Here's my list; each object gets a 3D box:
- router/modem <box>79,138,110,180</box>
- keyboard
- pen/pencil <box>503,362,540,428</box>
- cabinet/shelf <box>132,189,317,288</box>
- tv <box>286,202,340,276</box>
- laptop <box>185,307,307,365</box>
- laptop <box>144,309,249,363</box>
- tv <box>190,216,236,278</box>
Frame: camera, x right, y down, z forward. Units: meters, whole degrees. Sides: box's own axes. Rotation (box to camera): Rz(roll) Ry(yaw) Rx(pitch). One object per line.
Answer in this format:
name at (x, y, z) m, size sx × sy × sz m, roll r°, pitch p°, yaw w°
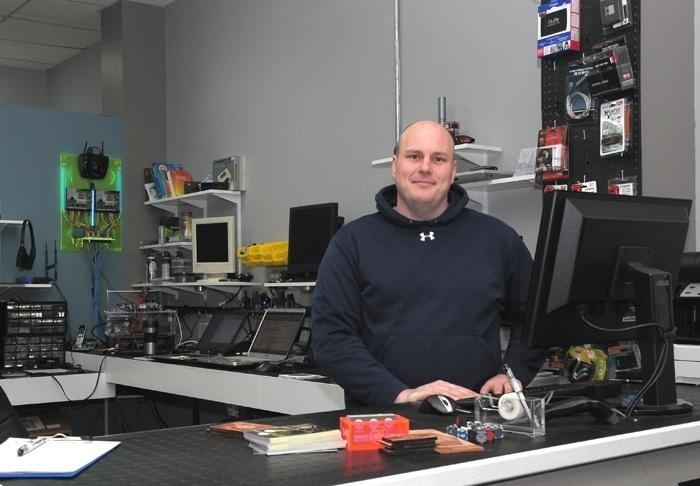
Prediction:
router/modem at (-2.304, -0.745, 5.496) m, size 0.254 × 0.335 × 0.198 m, roll -2°, pitch 1°, yaw -23°
keyboard at (0.567, 0.444, 1.799) m, size 0.201 × 0.033 × 0.139 m, roll -3°, pitch 3°, yaw -22°
pen/pencil at (0.466, 0.420, 1.691) m, size 0.027 × 0.196 × 0.027 m, roll -24°, pitch -27°, yaw 2°
cabinet/shelf at (-1.066, -0.050, 4.744) m, size 1.620 × 0.606 × 0.320 m, roll 0°, pitch 6°, yaw -4°
tv at (-0.224, -0.020, 3.601) m, size 0.150 × 0.416 × 0.423 m, roll 13°, pitch -17°, yaw -40°
laptop at (-0.542, 0.576, 3.711) m, size 0.448 × 0.249 × 0.461 m, roll 7°, pitch -9°, yaw -37°
laptop at (-0.972, 0.614, 4.043) m, size 0.408 × 0.242 × 0.411 m, roll 7°, pitch -10°, yaw -38°
tv at (-1.042, 0.032, 4.681) m, size 0.463 × 0.525 × 0.190 m, roll -5°, pitch -7°, yaw 28°
